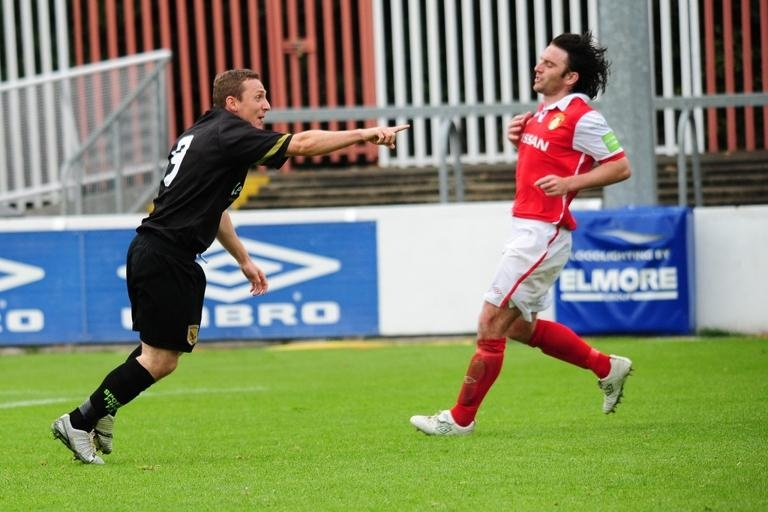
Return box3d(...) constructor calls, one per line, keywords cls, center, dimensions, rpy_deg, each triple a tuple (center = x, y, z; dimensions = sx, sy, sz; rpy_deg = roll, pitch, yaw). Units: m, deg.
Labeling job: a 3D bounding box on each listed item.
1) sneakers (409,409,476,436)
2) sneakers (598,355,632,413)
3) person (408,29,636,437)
box3d(cls="sneakers", center=(0.314, 0.929, 7.842), dimensions=(0.388, 0.143, 0.133), rpy_deg=(7, -5, -17))
box3d(cls="sneakers", center=(1.266, 0.711, 8.044), dimensions=(0.202, 0.366, 0.125), rpy_deg=(8, 12, -4))
box3d(cls="person", center=(0.829, -0.147, 8.006), dimensions=(1.084, 2.194, 0.567), rpy_deg=(-4, 6, -1))
